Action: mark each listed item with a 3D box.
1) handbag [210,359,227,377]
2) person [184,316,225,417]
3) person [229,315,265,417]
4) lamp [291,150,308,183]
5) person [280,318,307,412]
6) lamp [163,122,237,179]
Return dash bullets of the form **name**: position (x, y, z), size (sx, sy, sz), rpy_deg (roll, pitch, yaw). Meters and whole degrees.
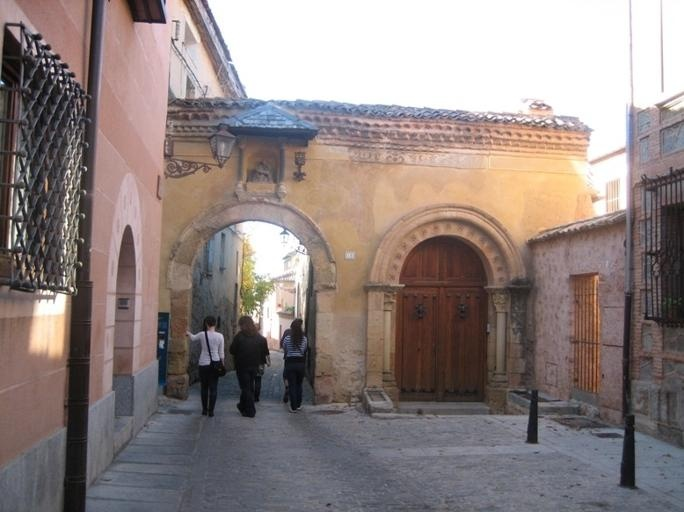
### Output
- **handbag**: position (-2.291, 2.109, 11.031), size (0.162, 0.323, 0.346), rpy_deg (-2, -5, 38)
- **person**: position (-2.608, 2.108, 11.355), size (0.634, 1.908, 0.983), rpy_deg (2, -3, -17)
- **person**: position (-1.839, 2.134, 11.554), size (0.678, 1.904, 0.904), rpy_deg (1, -3, -8)
- **lamp**: position (-0.936, -2.001, 13.024), size (0.284, 0.623, 0.270), rpy_deg (1, -3, -4)
- **person**: position (-0.993, 2.251, 12.203), size (0.490, 1.867, 0.536), rpy_deg (1, -3, -7)
- **lamp**: position (-3.034, -2.248, 12.468), size (1.433, 1.401, 0.536), rpy_deg (1, -13, 2)
